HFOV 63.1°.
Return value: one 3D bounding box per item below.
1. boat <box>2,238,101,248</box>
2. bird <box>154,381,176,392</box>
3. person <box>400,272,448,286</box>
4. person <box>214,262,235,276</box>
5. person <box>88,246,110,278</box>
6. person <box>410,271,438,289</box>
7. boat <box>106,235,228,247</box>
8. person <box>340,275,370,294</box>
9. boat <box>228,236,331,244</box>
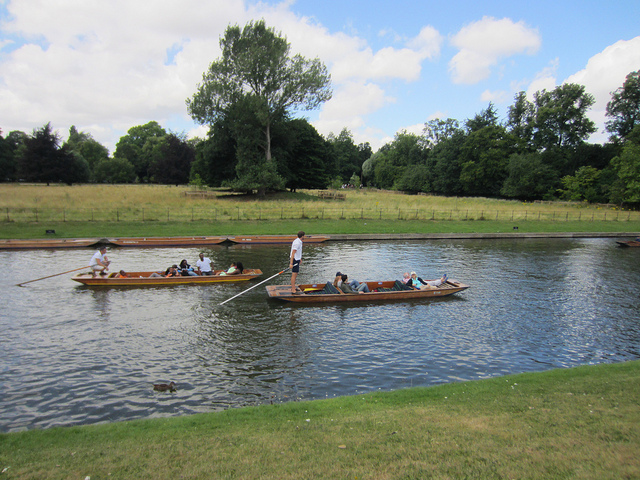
[{"bbox_3d":[-17.539,0.160,33.734,5.348,0.570,0.848,1,0,-17],"label":"boat"},{"bbox_3d":[-4.934,4.612,16.571,0.545,0.344,0.231,6,1,10],"label":"bird"},{"bbox_3d":[5.127,2.036,25.220,2.357,0.877,0.918,-1,6,-1],"label":"person"},{"bbox_3d":[-4.886,1.607,26.814,0.862,0.323,0.548,-25,22,-34],"label":"person"},{"bbox_3d":[-10.779,1.053,25.526,1.027,1.448,0.819,3,12,-15],"label":"person"},{"bbox_3d":[4.855,1.889,24.771,1.073,0.498,0.679,-1,7,10],"label":"person"},{"bbox_3d":[-10.544,0.080,35.808,7.149,0.704,0.768,1,0,-19],"label":"boat"},{"bbox_3d":[1.635,2.007,23.954,1.322,0.745,0.651,-4,8,-18],"label":"person"},{"bbox_3d":[-3.258,-0.103,36.485,4.483,0.342,0.752,0,7,-10],"label":"boat"}]
